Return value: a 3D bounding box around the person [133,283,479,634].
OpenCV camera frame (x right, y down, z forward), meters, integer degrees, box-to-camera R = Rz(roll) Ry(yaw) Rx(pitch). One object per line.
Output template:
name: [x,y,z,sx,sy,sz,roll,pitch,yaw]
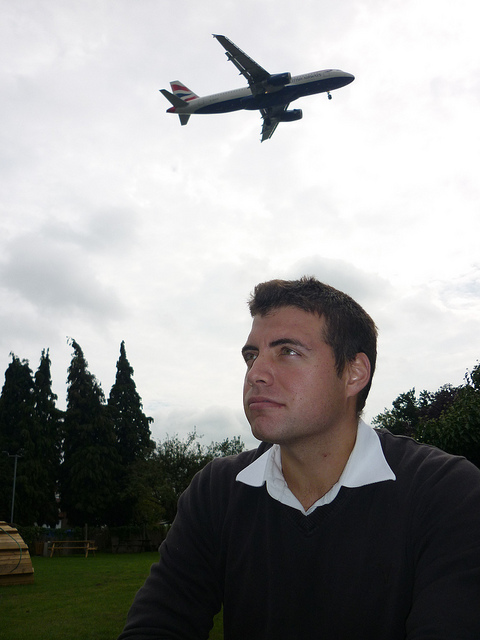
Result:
person: [0.293,0.528,2.311,1.258,1.460,0.740,-2,-11,24]
